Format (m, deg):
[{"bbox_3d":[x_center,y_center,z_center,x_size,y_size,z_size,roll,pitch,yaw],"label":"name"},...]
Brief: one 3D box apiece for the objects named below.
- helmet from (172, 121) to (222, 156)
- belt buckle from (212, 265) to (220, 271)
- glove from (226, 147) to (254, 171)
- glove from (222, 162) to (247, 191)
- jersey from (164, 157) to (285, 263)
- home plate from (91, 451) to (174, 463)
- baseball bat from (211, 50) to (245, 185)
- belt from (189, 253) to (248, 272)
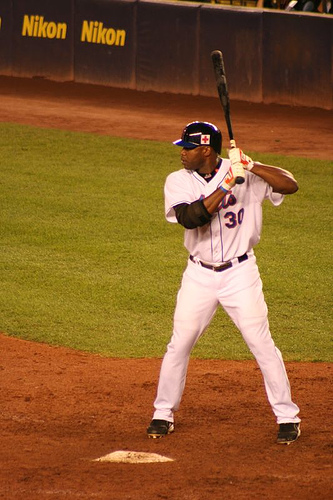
[{"bbox_3d":[0.197,-0.655,4.643,0.271,0.137,0.179,0,10,-3],"label":"helmet"},{"bbox_3d":[0.274,0.098,4.565,0.045,0.035,0.009,8,15,33],"label":"belt buckle"},{"bbox_3d":[0.413,-0.496,4.474,0.145,0.051,0.106,28,18,-24],"label":"glove"},{"bbox_3d":[0.364,-0.410,4.410,0.060,0.155,0.090,47,11,29],"label":"glove"},{"bbox_3d":[0.292,-0.191,4.633,0.588,0.527,0.188,-20,13,-25],"label":"jersey"},{"bbox_3d":[-0.182,1.131,4.383,0.420,0.016,0.163,0,11,-1],"label":"home plate"},{"bbox_3d":[0.366,-0.865,4.869,0.118,1.096,0.090,-9,-34,0],"label":"baseball bat"},{"bbox_3d":[0.285,0.065,4.600,0.338,0.099,0.099,3,12,14],"label":"belt"}]
